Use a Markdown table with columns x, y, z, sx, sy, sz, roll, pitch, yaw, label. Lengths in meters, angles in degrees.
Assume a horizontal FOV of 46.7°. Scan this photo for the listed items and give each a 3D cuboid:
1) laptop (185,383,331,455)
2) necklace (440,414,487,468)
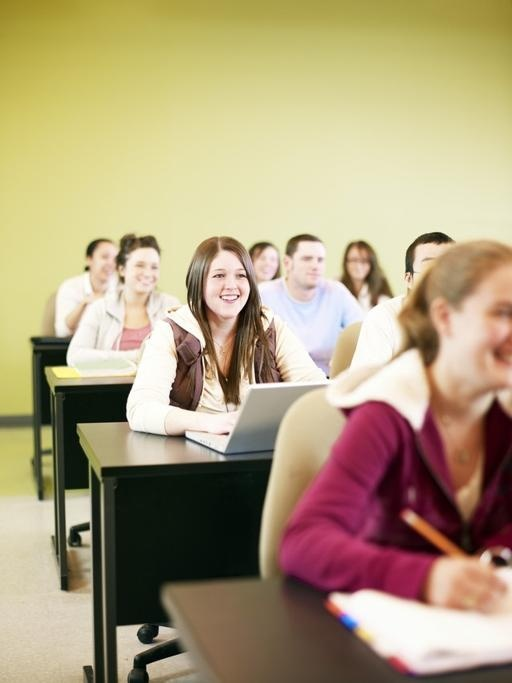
| x | y | z | sx | sy | sz | roll | pitch | yaw | label |
| --- | --- | --- | --- | --- | --- | --- | --- | --- | --- |
| -0.007 | 0.132 | 1.266 | 0.182 | 0.112 | 0.182 | 1 | 3 | -36 | laptop |
| 0.227 | 0.112 | 0.648 | 0.045 | 0.050 | 0.057 | 0 | -2 | 2 | necklace |
